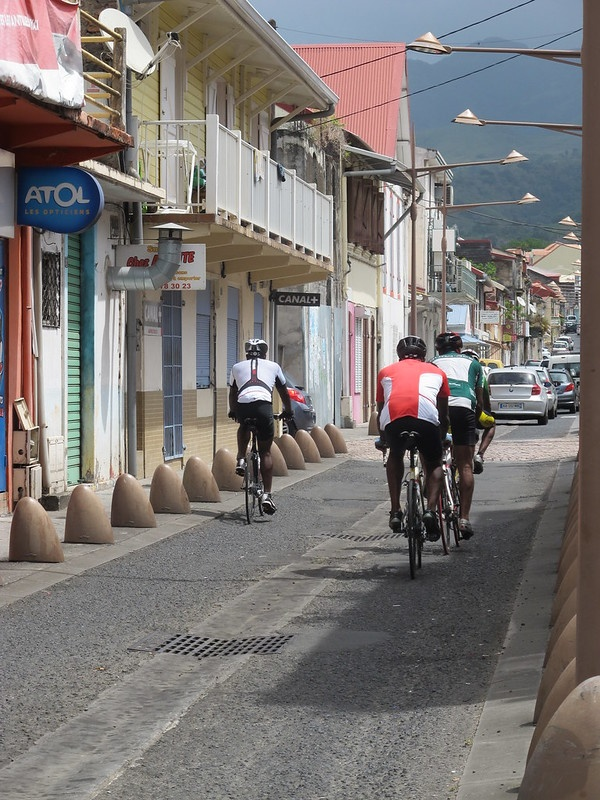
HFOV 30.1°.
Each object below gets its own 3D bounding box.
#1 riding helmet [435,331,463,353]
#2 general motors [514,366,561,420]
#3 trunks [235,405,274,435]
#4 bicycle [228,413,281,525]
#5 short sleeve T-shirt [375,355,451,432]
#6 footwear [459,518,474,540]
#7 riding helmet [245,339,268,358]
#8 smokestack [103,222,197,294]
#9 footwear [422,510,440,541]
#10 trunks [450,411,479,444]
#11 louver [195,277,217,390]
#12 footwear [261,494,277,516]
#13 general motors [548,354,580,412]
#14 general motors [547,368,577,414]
[{"bbox_3d":[1.378,-0.543,10.262,0.165,0.276,0.248,5,18,21],"label":"riding helmet"},{"bbox_3d":[8.115,-0.345,36.649,0.951,1.259,2.263,0,7,9],"label":"general motors"},{"bbox_3d":[-0.449,0.204,11.321,0.369,0.400,0.274,0,0,-6],"label":"trunks"},{"bbox_3d":[-0.451,0.774,11.593,0.396,0.636,0.935,1,11,3],"label":"bicycle"},{"bbox_3d":[0.807,-0.018,8.308,0.547,0.409,0.898,-1,18,15],"label":"short sleeve T-shirt"},{"bbox_3d":[1.381,1.061,9.281,0.103,0.159,0.206,0,1,9],"label":"footwear"},{"bbox_3d":[-0.449,-0.546,11.568,0.146,0.234,0.217,2,9,14],"label":"riding helmet"},{"bbox_3d":[-1.939,-1.859,14.563,1.043,1.316,0.611,3,0,13],"label":"smokestack"},{"bbox_3d":[0.944,0.889,8.023,0.078,0.271,0.115,1,39,14],"label":"footwear"},{"bbox_3d":[1.426,0.201,9.528,0.179,0.307,0.270,3,7,22],"label":"trunks"},{"bbox_3d":[-1.703,-1.155,20.703,0.115,1.982,1.637,4,2,-6],"label":"louver"},{"bbox_3d":[-0.302,1.101,11.399,0.087,0.197,0.253,-16,-30,28],"label":"footwear"},{"bbox_3d":[10.077,-0.642,42.687,1.474,1.905,3.188,-1,9,8],"label":"general motors"},{"bbox_3d":[10.228,-0.292,43.264,1.118,1.435,2.857,0,11,6],"label":"general motors"}]
